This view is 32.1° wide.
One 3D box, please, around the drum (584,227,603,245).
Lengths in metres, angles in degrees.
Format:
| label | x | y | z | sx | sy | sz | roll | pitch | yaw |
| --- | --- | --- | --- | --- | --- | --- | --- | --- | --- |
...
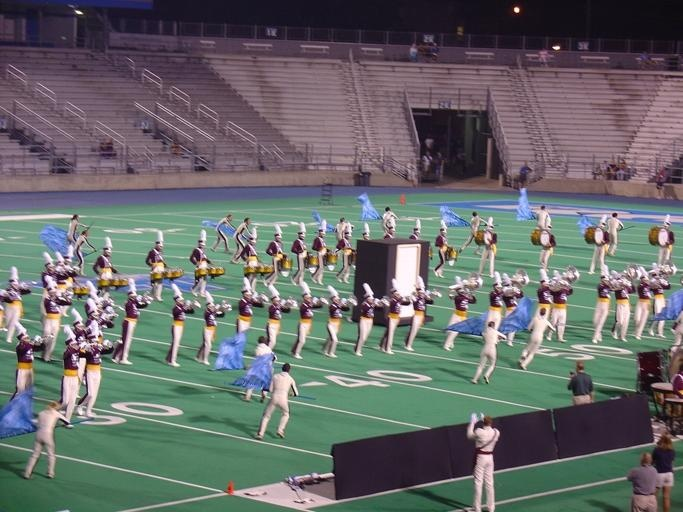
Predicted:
| label | x | y | z | sx | sy | sz | roll | pitch | yaw |
| --- | --- | --- | --- | --- | --- | --- | --- | --- | --- |
| drum | 9.003 | -0.759 | 42.178 | 0.496 | 0.471 | 0.642 | -7 | 1 | -27 |

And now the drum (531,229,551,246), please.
| label | x | y | z | sx | sy | sz | roll | pitch | yaw |
| --- | --- | --- | --- | --- | --- | --- | --- | --- | --- |
| drum | 6.986 | -0.682 | 41.360 | 0.390 | 0.233 | 0.649 | -14 | 5 | -9 |

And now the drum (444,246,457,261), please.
| label | x | y | z | sx | sy | sz | roll | pitch | yaw |
| --- | --- | --- | --- | --- | --- | --- | --- | --- | --- |
| drum | 3.783 | -0.122 | 40.790 | 0.419 | 0.439 | 0.273 | 4 | 1 | -1 |

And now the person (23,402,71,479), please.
| label | x | y | z | sx | sy | sz | roll | pitch | yaw |
| --- | --- | --- | --- | --- | --- | --- | --- | --- | --- |
| person | -6.104 | 3.748 | 24.347 | 0.775 | 1.560 | 0.597 | 0 | 1 | -7 |

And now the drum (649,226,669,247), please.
| label | x | y | z | sx | sy | sz | roll | pitch | yaw |
| --- | --- | --- | --- | --- | --- | --- | --- | --- | --- |
| drum | 11.161 | -0.706 | 41.509 | 0.609 | 0.595 | 0.709 | 2 | -9 | 5 |

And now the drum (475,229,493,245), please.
| label | x | y | z | sx | sy | sz | roll | pitch | yaw |
| --- | --- | --- | --- | --- | --- | --- | --- | --- | --- |
| drum | 4.865 | -0.698 | 40.901 | 0.523 | 0.466 | 0.317 | 12 | -5 | 35 |
